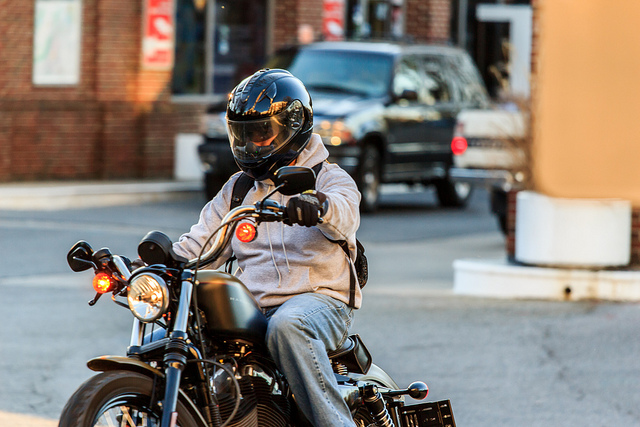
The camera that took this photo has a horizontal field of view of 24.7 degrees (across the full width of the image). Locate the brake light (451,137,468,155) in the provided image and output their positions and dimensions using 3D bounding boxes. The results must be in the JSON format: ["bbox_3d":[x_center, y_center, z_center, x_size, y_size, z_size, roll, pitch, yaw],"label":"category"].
[{"bbox_3d":[1.576,-0.782,16.522,0.048,0.177,0.175,1,-2,-40],"label":"brake light"}]

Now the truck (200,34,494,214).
[{"bbox_3d":[0.589,-1.182,18.773,2.173,1.826,3.758,2,3,41],"label":"truck"}]

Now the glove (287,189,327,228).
[{"bbox_3d":[-0.091,-0.051,10.131,0.321,0.244,0.168,-2,10,-18],"label":"glove"}]
